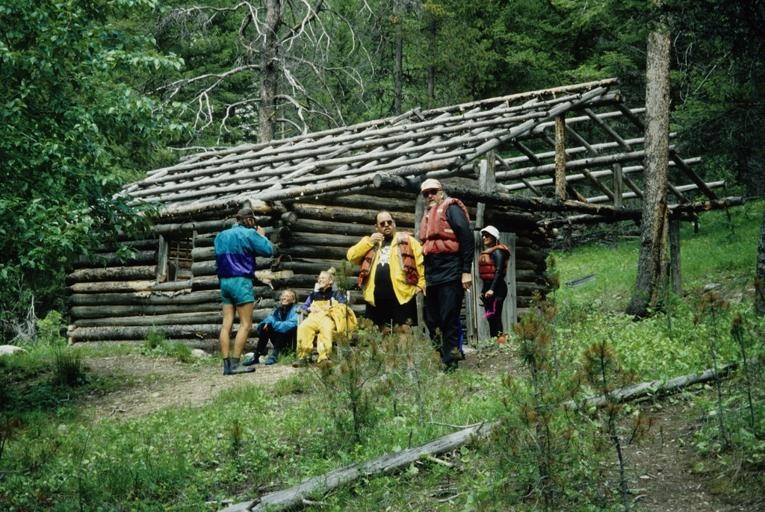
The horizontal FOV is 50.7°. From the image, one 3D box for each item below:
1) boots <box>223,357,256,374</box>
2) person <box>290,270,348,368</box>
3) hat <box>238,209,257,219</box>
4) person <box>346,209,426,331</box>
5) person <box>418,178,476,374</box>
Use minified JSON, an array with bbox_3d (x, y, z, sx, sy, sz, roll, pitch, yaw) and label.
[{"bbox_3d":[-2.491,1.932,14.309,0.687,0.339,0.238,-2,-8,1],"label":"boots"},{"bbox_3d":[-1.113,1.096,14.122,0.970,1.660,1.385,-3,2,-6],"label":"person"},{"bbox_3d":[-2.427,-0.753,14.454,0.171,0.124,0.245,5,9,40],"label":"hat"},{"bbox_3d":[0.091,0.207,13.305,1.171,1.875,0.592,-3,2,7],"label":"person"},{"bbox_3d":[0.995,0.281,12.972,0.920,3.058,0.749,-2,3,25],"label":"person"}]
